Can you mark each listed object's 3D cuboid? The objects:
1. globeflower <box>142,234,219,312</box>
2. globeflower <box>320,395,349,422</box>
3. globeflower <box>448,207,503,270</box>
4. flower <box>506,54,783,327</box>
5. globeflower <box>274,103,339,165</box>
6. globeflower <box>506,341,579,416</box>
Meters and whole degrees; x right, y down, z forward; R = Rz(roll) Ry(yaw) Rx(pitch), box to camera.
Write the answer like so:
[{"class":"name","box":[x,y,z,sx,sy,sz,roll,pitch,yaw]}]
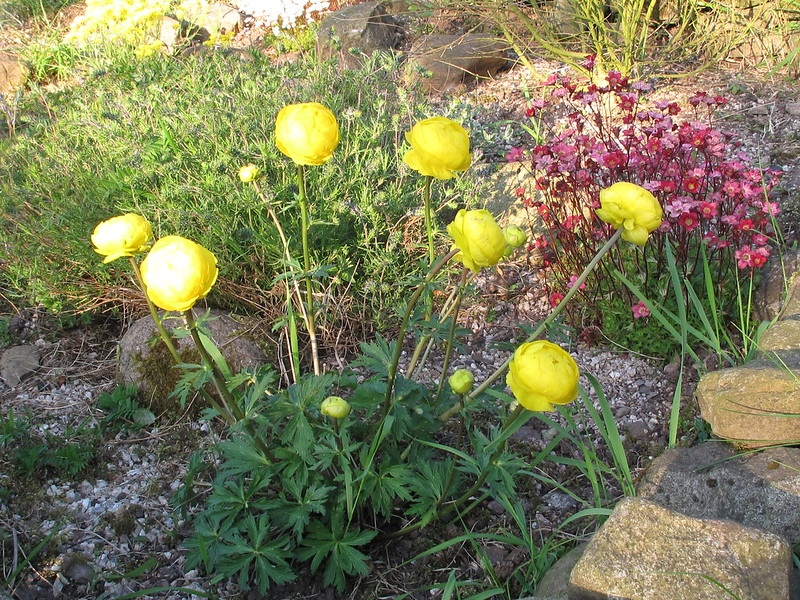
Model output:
[{"class":"globeflower","box":[-0.723,-0.077,1.921,0.182,0.199,0.166,-25,57,59]},{"class":"globeflower","box":[-0.227,0.383,2.104,0.094,0.096,0.094,11,15,12]},{"class":"globeflower","box":[0.238,-0.196,1.907,0.192,0.195,0.148,0,50,21]},{"class":"flower","box":[1.403,-0.777,3.883,1.667,0.917,1.692,0,83,4]},{"class":"globeflower","box":[-0.378,-0.621,2.232,0.252,0.225,0.258,6,6,43]},{"class":"globeflower","box":[0.434,0.257,1.828,0.204,0.243,0.188,9,54,27]}]
